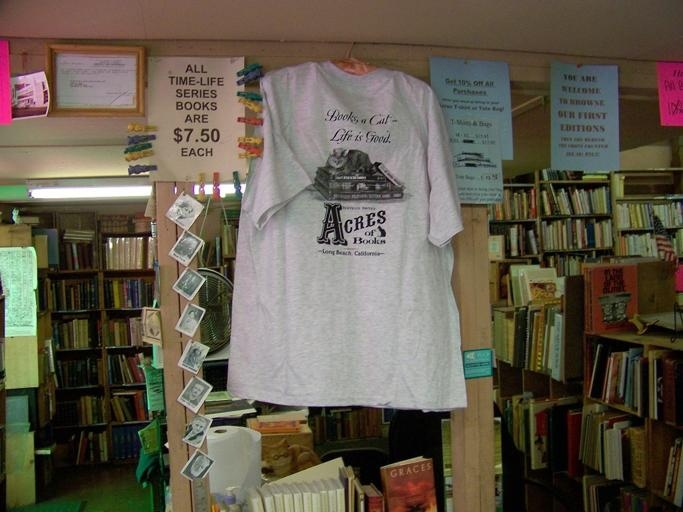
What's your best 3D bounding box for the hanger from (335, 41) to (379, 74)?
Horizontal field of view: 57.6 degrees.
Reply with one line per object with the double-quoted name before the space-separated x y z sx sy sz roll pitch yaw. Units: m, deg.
"hanger" 0.058 -0.907 2.849 0.183 0.186 0.115 -3 -2 0
